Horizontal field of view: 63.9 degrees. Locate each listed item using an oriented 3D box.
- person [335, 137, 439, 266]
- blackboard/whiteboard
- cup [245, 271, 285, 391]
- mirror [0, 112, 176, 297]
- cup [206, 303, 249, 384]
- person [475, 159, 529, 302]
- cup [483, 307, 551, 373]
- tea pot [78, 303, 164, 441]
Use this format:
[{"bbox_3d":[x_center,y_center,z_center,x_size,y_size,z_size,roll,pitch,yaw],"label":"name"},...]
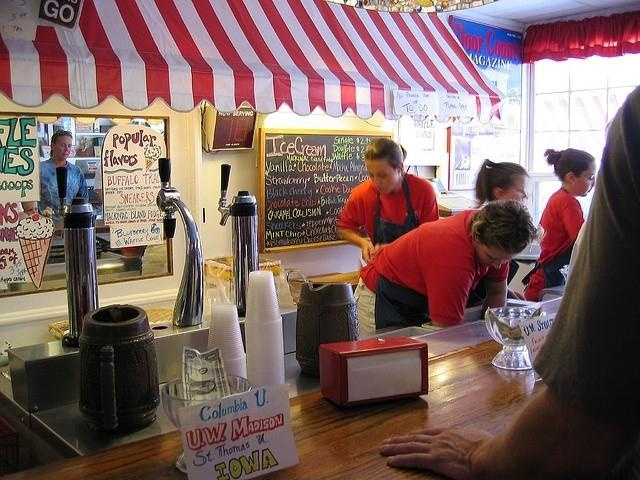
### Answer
[{"bbox_3d":[0.484,-0.136,3.576,0.658,1.155,0.639,1,18,15],"label":"person"},{"bbox_3d":[0.123,-0.499,4.965,1.491,1.192,0.058,-5,15,-24],"label":"blackboard/whiteboard"},{"bbox_3d":[-0.151,0.241,1.422,0.107,0.315,0.118,-3,8,-12],"label":"cup"},{"bbox_3d":[-1.708,-0.274,3.814,1.234,1.259,0.170,-8,10,-38],"label":"mirror"},{"bbox_3d":[-0.251,0.277,1.400,0.102,0.215,0.073,-3,8,-14],"label":"cup"},{"bbox_3d":[1.178,-0.111,3.408,0.319,0.864,0.316,2,31,13],"label":"person"},{"bbox_3d":[0.663,0.325,1.764,0.181,0.205,0.205,-2,-6,-16],"label":"cup"},{"bbox_3d":[-0.518,0.334,1.339,0.171,0.297,0.273,-1,8,-9],"label":"tea pot"}]
